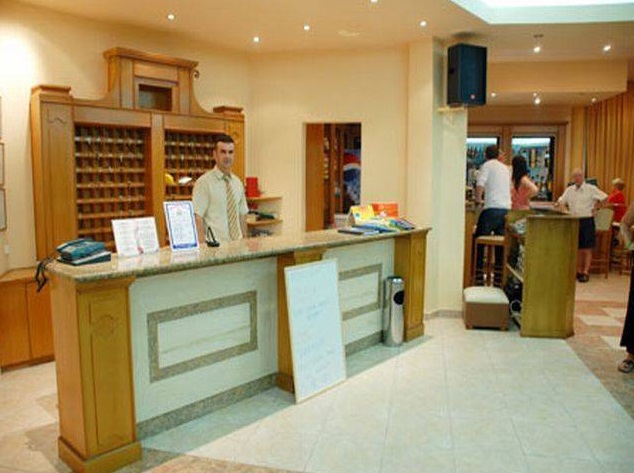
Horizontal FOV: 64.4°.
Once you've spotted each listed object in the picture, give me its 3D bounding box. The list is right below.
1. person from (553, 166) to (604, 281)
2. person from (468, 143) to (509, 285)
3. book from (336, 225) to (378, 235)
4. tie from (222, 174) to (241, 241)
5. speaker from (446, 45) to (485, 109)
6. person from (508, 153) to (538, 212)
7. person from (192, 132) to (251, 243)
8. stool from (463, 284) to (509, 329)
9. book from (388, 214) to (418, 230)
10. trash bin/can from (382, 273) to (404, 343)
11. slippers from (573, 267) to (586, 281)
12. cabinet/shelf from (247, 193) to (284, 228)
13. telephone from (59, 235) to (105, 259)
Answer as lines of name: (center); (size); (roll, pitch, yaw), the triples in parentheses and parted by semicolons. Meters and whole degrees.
person: (4.835, -0.210, 9.405); (0.799, 2.027, 1.203); (5, 13, 25)
person: (2.716, -0.267, 7.948); (0.513, 2.284, 0.849); (4, 12, 20)
book: (0.481, -0.081, 5.840); (0.454, 0.054, 0.370); (-4, 13, -19)
tie: (-0.946, -0.309, 5.634); (0.168, 0.662, 0.068); (-11, 13, -21)
speaker: (2.033, -2.213, 6.940); (0.520, 0.821, 0.358); (3, 12, 14)
person: (3.329, -0.891, 8.185); (0.398, 0.849, 0.440); (4, 12, 18)
person: (-1.025, -0.520, 5.588); (0.315, 1.164, 0.742); (11, 16, 42)
stool: (2.237, 0.917, 6.781); (0.506, 0.457, 0.529); (0, 7, 2)
book: (1.011, -0.209, 6.214); (0.181, 0.081, 0.232); (-7, 16, -31)
trash bin/can: (0.911, 0.884, 6.129); (0.253, 0.800, 0.193); (1, 12, 4)
slippers: (4.846, 0.696, 9.302); (0.204, 0.184, 0.409); (7, 14, 28)
cabinet/shelf: (-0.831, -0.385, 8.078); (0.538, 0.555, 0.521); (-1, 12, -6)
telephone: (-1.922, 0.082, 4.134); (0.221, 0.099, 0.232); (-12, 16, -43)
